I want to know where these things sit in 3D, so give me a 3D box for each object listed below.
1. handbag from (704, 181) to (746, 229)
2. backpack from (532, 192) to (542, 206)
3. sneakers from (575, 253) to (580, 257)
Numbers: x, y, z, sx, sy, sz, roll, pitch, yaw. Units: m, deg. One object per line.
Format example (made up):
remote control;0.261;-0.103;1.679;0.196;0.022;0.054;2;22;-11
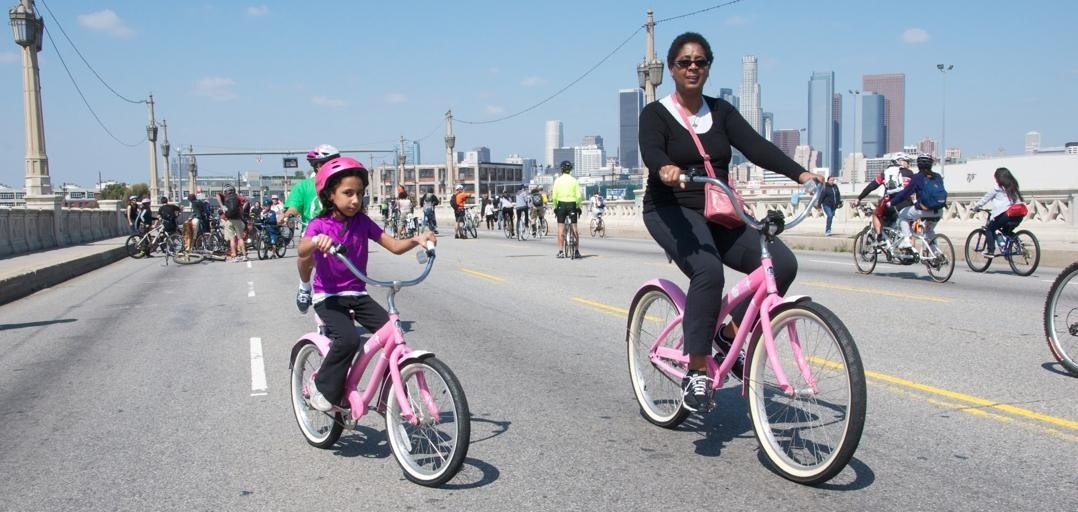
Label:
handbag;2.409;-0.657;9.826;0.377;0.608;0.657;-27;-13;30
backpack;-0.049;-2.395;31.496;0.599;0.393;0.782;-4;22;-4
sneakers;1.270;-0.058;23.957;0.168;0.123;0.240;8;15;3
